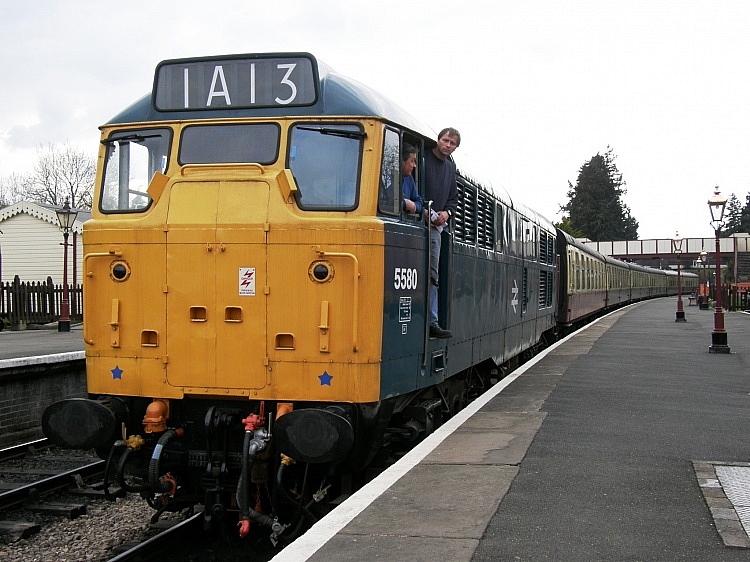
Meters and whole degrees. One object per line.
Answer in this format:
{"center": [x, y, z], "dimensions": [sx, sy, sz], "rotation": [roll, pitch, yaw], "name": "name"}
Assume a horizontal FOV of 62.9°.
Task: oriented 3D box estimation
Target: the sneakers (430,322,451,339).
{"center": [0.736, 0.578, 7.031], "dimensions": [0.346, 0.167, 0.122], "rotation": [0, 2, 34], "name": "sneakers"}
